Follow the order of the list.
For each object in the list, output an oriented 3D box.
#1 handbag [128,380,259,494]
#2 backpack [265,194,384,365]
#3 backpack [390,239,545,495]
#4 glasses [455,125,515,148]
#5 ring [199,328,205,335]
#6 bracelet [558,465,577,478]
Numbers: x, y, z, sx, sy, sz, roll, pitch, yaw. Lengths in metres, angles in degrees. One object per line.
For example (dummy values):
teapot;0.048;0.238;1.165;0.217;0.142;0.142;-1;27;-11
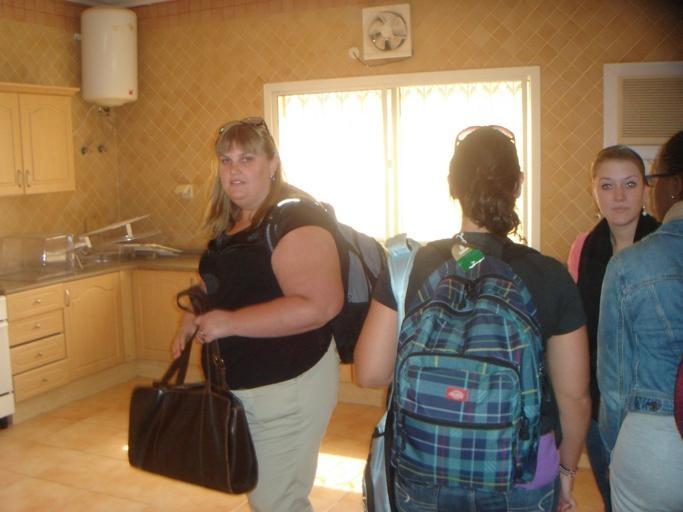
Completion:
handbag;-0.489;0.573;1.981;0.463;0.338;0.095;2;11;17
backpack;-0.123;0.105;2.267;0.521;0.559;0.380;1;1;-10
backpack;0.319;0.296;1.606;0.388;0.599;0.223;0;11;4
glasses;0.413;-0.368;1.793;0.147;0.039;0.141;-2;-27;1
ring;-0.444;0.244;1.961;0.022;0.022;0.013;2;-1;-10
bracelet;0.665;0.633;1.805;0.042;0.014;0.043;19;3;22
